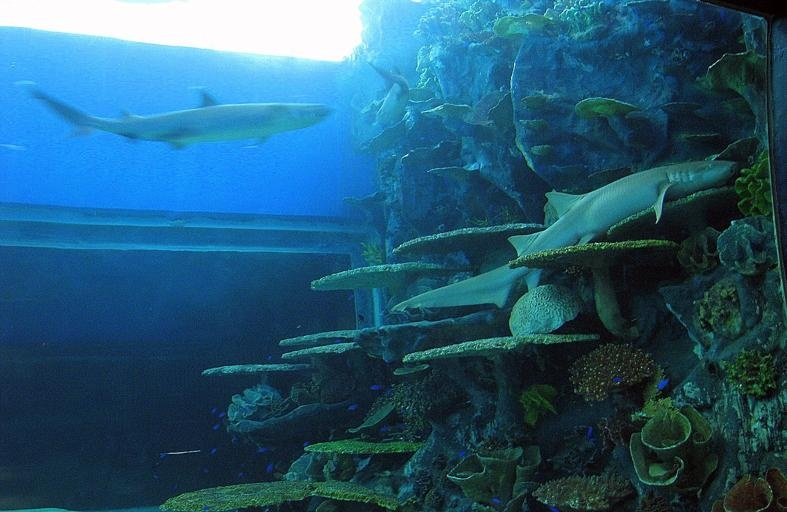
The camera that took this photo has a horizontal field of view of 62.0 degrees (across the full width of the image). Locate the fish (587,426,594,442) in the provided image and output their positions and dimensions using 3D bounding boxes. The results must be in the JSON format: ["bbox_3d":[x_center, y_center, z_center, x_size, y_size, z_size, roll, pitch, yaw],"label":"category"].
[{"bbox_3d":[4.709,4.179,15.441,0.164,0.298,0.041,-14,-17,4],"label":"fish"}]

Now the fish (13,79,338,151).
[{"bbox_3d":[-5.371,-3.725,17.877,7.622,1.365,1.221,-7,19,-23],"label":"fish"}]

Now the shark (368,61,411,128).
[{"bbox_3d":[0.149,-4.999,20.430,1.636,1.895,1.528,-4,10,-6],"label":"shark"}]

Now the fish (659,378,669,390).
[{"bbox_3d":[6.182,2.912,14.845,0.356,0.146,0.110,-51,-1,9],"label":"fish"}]

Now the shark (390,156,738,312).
[{"bbox_3d":[4.374,-0.464,15.480,7.408,2.315,0.633,-17,-17,24],"label":"shark"}]

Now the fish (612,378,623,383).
[{"bbox_3d":[5.179,2.846,14.964,0.207,0.149,0.059,-11,-17,-2],"label":"fish"}]
